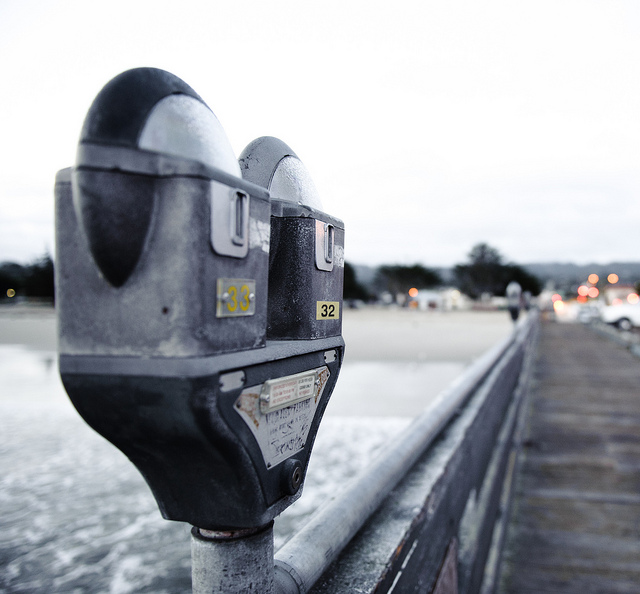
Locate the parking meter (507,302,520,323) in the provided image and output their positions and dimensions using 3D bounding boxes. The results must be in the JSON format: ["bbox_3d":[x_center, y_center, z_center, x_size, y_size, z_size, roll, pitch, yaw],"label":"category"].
[{"bbox_3d":[5.516,0.372,18.679,0.265,0.585,1.263,1,3,16],"label":"parking meter"}]

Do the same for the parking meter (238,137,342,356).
[{"bbox_3d":[-0.107,-0.093,1.920,0.276,0.672,0.373,-4,-1,18],"label":"parking meter"}]

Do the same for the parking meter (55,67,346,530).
[{"bbox_3d":[-0.232,0.008,1.579,0.731,1.072,0.351,-3,4,-42],"label":"parking meter"}]
